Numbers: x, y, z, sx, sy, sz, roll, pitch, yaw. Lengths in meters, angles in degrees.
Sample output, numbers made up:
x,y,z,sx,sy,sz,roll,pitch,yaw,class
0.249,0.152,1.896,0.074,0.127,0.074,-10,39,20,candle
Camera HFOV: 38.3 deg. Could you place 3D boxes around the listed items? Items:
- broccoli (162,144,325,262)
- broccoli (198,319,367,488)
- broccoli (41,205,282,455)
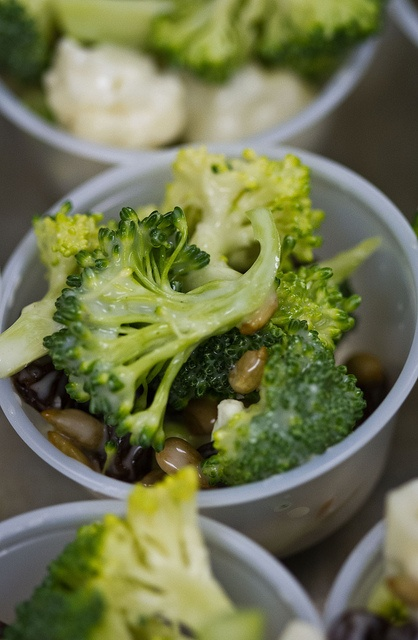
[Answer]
x,y,z,sx,sy,sz,roll,pitch,yaw,class
0.051,-0.147,0.746,0.153,0.142,0.137,22,41,-13,broccoli
0.059,0.067,0.537,0.120,0.044,0.137,38,79,-19,broccoli
-0.023,0.025,0.573,0.260,0.190,0.099,-10,57,-41,broccoli
